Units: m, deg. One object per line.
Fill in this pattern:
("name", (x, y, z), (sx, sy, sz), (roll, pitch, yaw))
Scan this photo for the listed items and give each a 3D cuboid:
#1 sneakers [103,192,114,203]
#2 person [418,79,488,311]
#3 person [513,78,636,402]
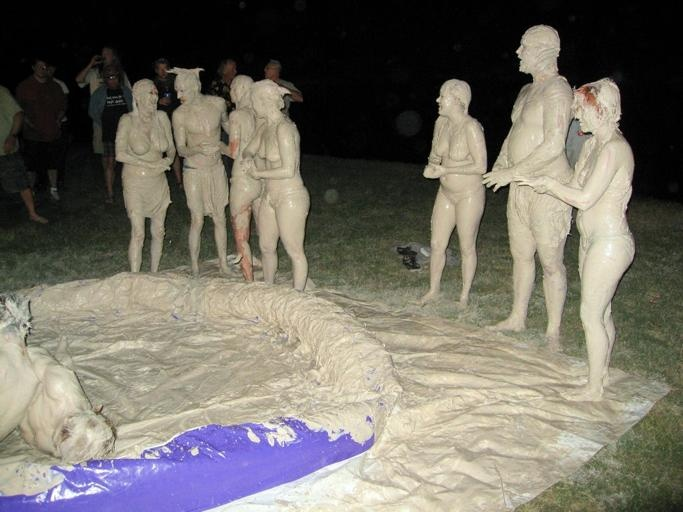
("sneakers", (-3.543, -0.892, 9.397), (0.108, 0.074, 0.279), (-4, 21, -12))
("person", (1.104, -0.567, 6.018), (0.637, 2.207, 0.555), (10, 18, 23))
("person", (1.926, -0.127, 4.831), (0.708, 2.435, 0.587), (17, 22, 41))
